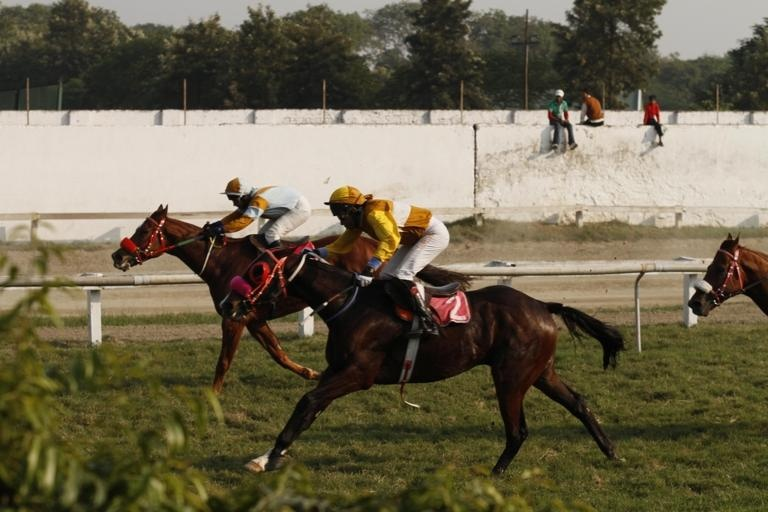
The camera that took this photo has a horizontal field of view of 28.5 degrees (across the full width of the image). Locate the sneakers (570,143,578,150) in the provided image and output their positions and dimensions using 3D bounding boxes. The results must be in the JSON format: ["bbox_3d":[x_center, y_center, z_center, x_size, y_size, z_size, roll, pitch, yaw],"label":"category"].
[{"bbox_3d":[6.933,-4.012,55.090,0.125,0.158,0.345,-10,-10,-12],"label":"sneakers"}]

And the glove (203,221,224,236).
[{"bbox_3d":[-4.630,-0.744,41.447,0.373,0.246,0.514,0,12,-7],"label":"glove"}]

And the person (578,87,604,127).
[{"bbox_3d":[7.574,-5.455,55.763,0.987,1.276,0.693,-2,-2,29],"label":"person"}]

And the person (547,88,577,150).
[{"bbox_3d":[6.461,-4.968,55.020,0.941,2.140,0.830,-6,8,-41],"label":"person"}]

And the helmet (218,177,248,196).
[{"bbox_3d":[-4.064,-1.926,41.801,0.698,0.402,0.493,5,2,-12],"label":"helmet"}]

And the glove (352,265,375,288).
[{"bbox_3d":[-0.440,0.559,39.932,0.412,0.233,0.568,-3,49,34],"label":"glove"}]
